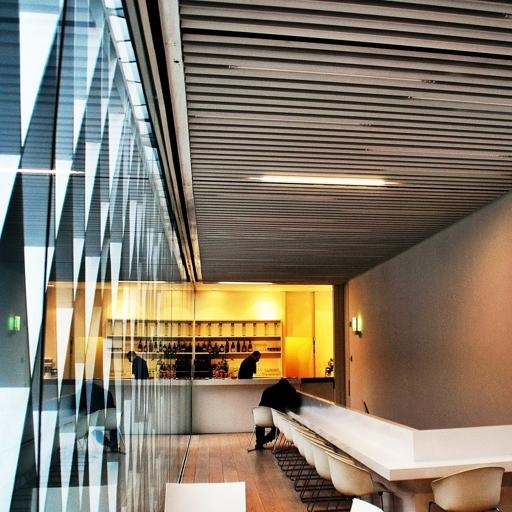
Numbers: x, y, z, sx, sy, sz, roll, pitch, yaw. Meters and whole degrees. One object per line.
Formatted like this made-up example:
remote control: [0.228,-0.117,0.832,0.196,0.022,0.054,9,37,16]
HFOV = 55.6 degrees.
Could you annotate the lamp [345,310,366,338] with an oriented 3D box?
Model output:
lamp: [2.124,1.456,10.313,0.360,0.695,0.472,1,-4,-6]

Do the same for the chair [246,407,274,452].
chair: [0.097,2.930,8.326,0.476,0.791,1.232,0,-10,2]
